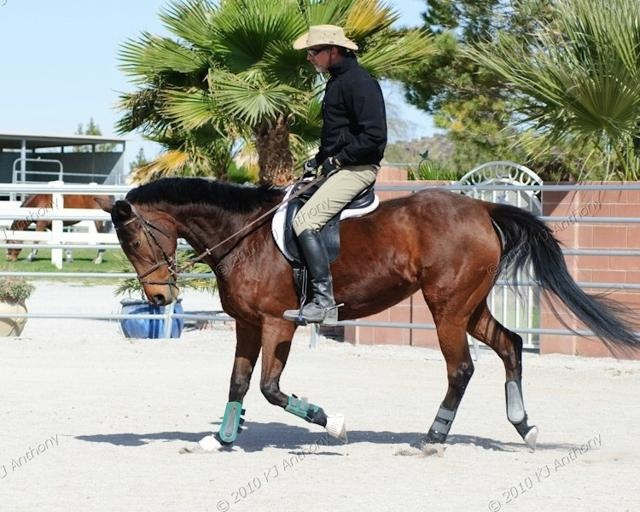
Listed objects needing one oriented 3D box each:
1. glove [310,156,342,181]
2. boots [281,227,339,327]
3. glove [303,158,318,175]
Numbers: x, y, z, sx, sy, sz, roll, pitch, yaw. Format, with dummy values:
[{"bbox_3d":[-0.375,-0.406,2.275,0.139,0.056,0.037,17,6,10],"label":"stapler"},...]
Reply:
[{"bbox_3d":[0.061,-0.778,10.476,0.234,0.096,0.175,-31,24,27],"label":"glove"},{"bbox_3d":[-0.088,0.194,10.210,0.461,0.836,0.233,-1,8,-3],"label":"boots"},{"bbox_3d":[-0.085,-0.840,10.682,0.117,0.146,0.144,-7,-24,7],"label":"glove"}]
